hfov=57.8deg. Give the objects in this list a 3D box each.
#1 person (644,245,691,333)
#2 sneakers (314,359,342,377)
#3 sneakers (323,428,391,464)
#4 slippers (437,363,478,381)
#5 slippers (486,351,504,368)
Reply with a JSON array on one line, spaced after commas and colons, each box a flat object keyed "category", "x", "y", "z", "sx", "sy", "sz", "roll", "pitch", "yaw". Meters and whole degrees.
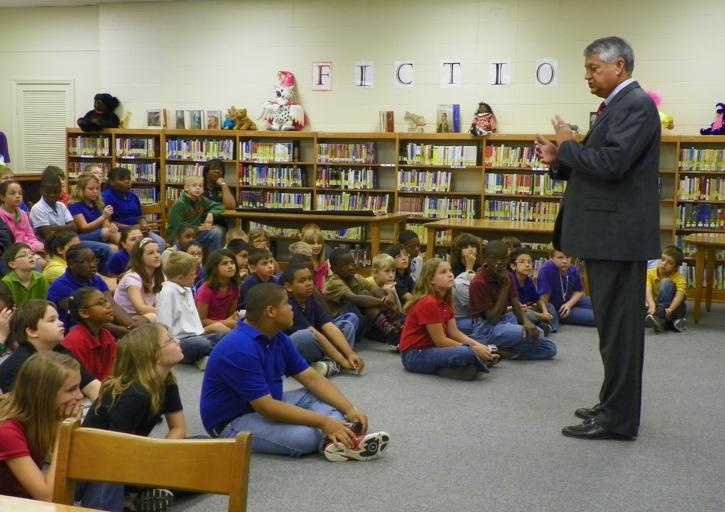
[{"category": "person", "x": 2.773, "y": 0.294, "z": 6.054, "sx": 0.401, "sy": 0.766, "sz": 0.800, "roll": 4, "pitch": 7, "yaw": 26}, {"category": "sneakers", "x": -0.229, "y": 0.775, "z": 4.497, "sx": 0.090, "sy": 0.073, "sz": 0.202, "roll": -2, "pitch": 9, "yaw": -32}, {"category": "sneakers", "x": -0.023, "y": 0.963, "z": 3.424, "sx": 0.371, "sy": 0.135, "sz": 0.175, "roll": -4, "pitch": 4, "yaw": -9}, {"category": "slippers", "x": 0.669, "y": 0.805, "z": 4.532, "sx": 0.305, "sy": 0.101, "sz": 0.121, "roll": 2, "pitch": -1, "yaw": 13}, {"category": "slippers", "x": 0.942, "y": 0.739, "z": 4.718, "sx": 0.085, "sy": 0.109, "sz": 0.254, "roll": -13, "pitch": -7, "yaw": 3}]
